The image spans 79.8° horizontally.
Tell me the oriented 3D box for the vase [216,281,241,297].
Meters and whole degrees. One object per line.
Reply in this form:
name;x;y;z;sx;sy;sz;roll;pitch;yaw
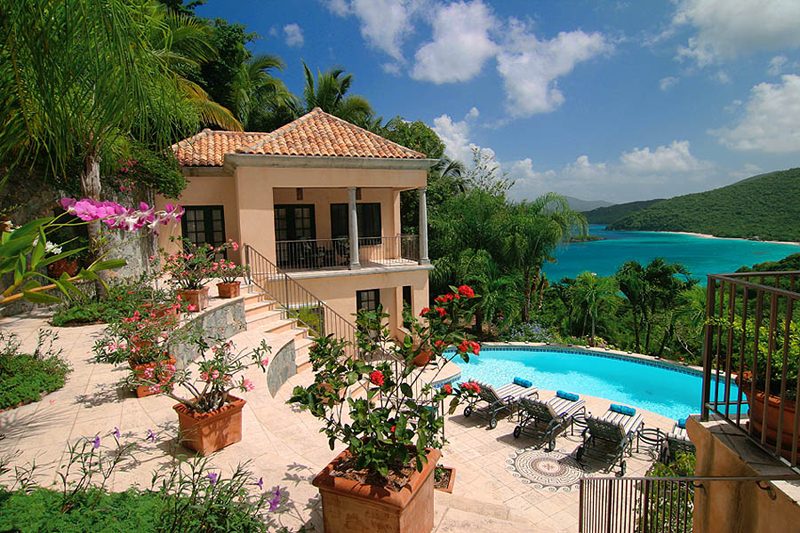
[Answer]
vase;-4.501;0.618;12.548;0.539;0.418;0.571;1;10;-23

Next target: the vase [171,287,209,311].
vase;-4.721;0.855;10.899;0.725;0.529;0.608;-2;2;-20

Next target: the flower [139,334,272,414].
flower;-2.925;1.834;7.365;1.204;0.678;1.254;22;-16;-29

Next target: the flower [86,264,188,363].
flower;-5.326;1.006;9.657;1.852;1.079;2.520;6;3;8

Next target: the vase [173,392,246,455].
vase;-2.898;2.392;7.273;0.790;0.725;1.004;10;12;35

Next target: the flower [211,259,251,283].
flower;-4.640;0.130;12.951;0.839;0.559;0.803;4;-1;-22

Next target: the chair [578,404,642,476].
chair;4.699;3.789;10.736;0.852;0.923;1.911;1;25;35
